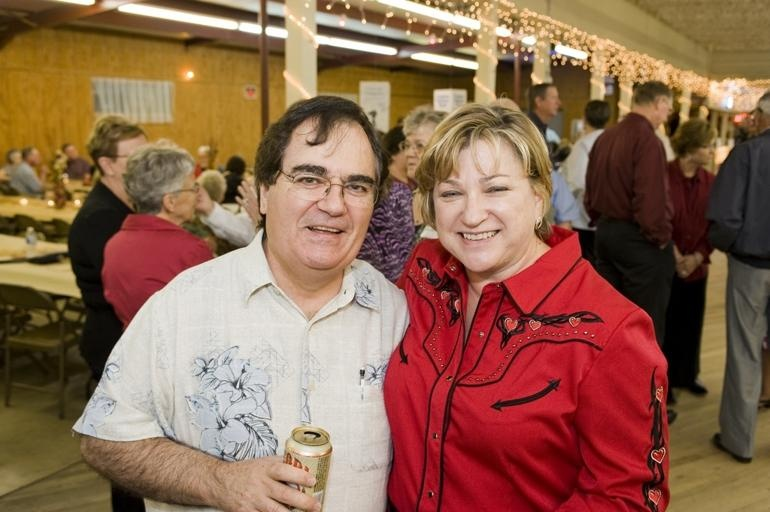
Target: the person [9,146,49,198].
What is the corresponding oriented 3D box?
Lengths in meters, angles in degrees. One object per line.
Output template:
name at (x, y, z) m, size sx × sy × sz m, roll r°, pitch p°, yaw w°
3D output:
person at (-6.370, -1.517, 11.163) m, size 0.504 × 0.868 × 2.444 m, roll -5°, pitch 9°, yaw -30°
